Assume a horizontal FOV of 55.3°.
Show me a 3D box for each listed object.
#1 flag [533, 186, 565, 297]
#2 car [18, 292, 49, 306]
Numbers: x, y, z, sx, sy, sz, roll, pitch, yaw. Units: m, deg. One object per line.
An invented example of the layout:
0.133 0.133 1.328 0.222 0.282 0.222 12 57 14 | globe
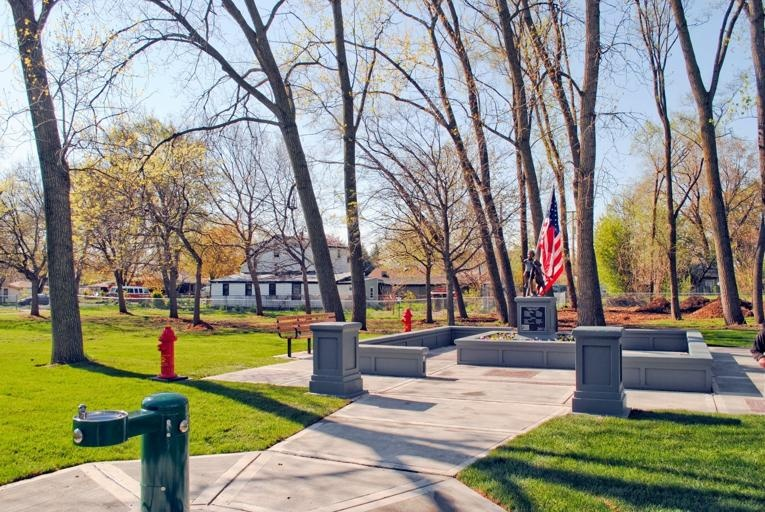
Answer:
6.272 -0.413 27.452 0.894 3.748 2.939 -2 -4 12 | flag
-33.352 4.192 70.088 3.090 1.124 1.482 2 -6 -7 | car
